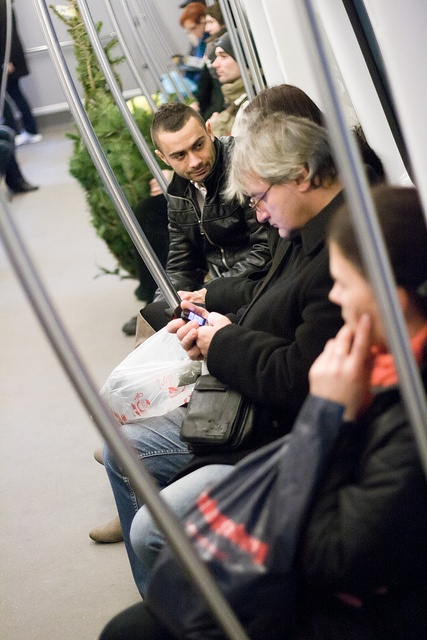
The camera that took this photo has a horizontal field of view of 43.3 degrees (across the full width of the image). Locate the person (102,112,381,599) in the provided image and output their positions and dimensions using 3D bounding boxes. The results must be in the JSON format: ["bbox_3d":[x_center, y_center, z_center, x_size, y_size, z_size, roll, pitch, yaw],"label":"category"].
[{"bbox_3d":[0.057,0.097,1.000,0.513,0.890,0.413,-8,19,-14],"label":"person"}]

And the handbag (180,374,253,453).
[{"bbox_3d":[0.010,0.143,0.798,0.096,0.037,0.111,-6,50,35],"label":"handbag"}]
